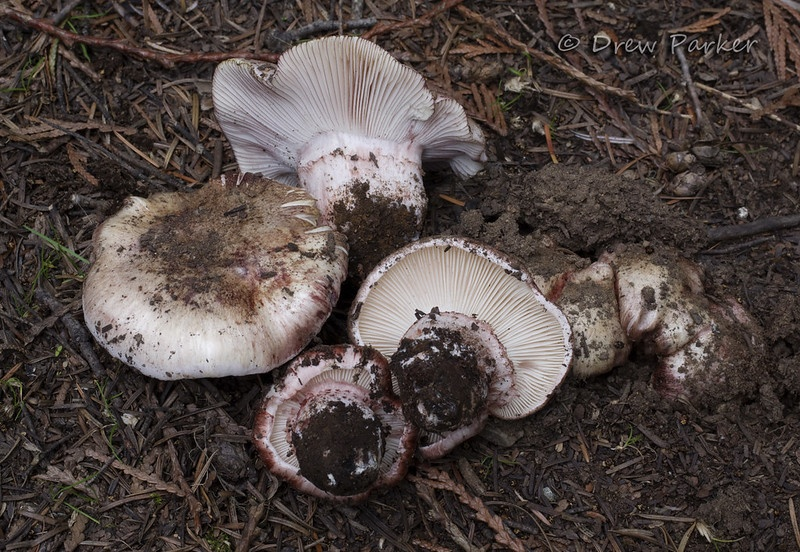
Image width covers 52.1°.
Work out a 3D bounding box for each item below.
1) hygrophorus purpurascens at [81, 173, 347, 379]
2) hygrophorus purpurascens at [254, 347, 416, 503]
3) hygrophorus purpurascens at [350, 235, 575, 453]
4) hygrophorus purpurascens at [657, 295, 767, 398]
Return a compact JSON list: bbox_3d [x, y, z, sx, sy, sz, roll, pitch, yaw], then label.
[{"bbox_3d":[-1.448,0.019,6.489,1.891,0.486,1.508,-4,85,0],"label":"hygrophorus purpurascens"},{"bbox_3d":[-0.532,1.179,6.327,1.190,0.814,1.229,-25,85,-2],"label":"hygrophorus purpurascens"},{"bbox_3d":[0.482,0.461,6.429,1.424,0.796,1.671,-39,86,-3],"label":"hygrophorus purpurascens"},{"bbox_3d":[2.517,0.628,6.515,0.651,0.330,0.867,15,85,-3],"label":"hygrophorus purpurascens"}]
